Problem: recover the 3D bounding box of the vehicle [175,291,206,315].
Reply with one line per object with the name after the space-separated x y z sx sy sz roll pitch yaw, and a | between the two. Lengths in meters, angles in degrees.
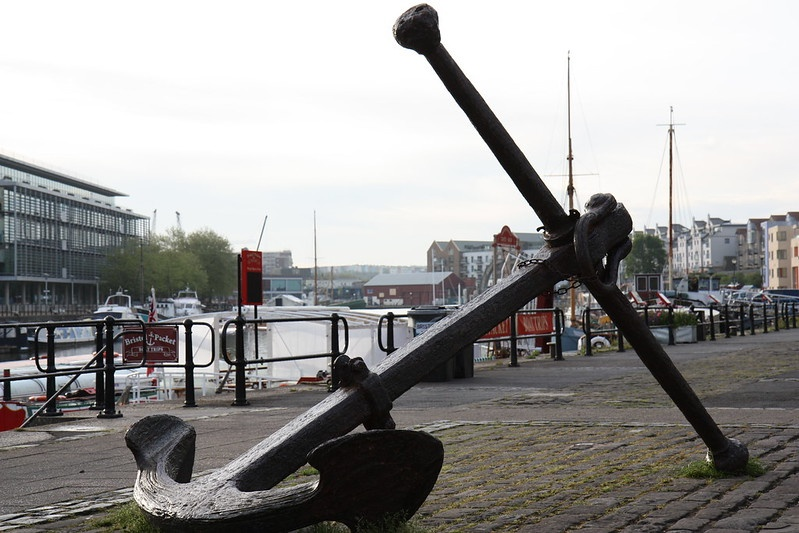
-21.658 3.530 102.776 3.097 2.945 3.186 -1 -1 19 | vehicle
